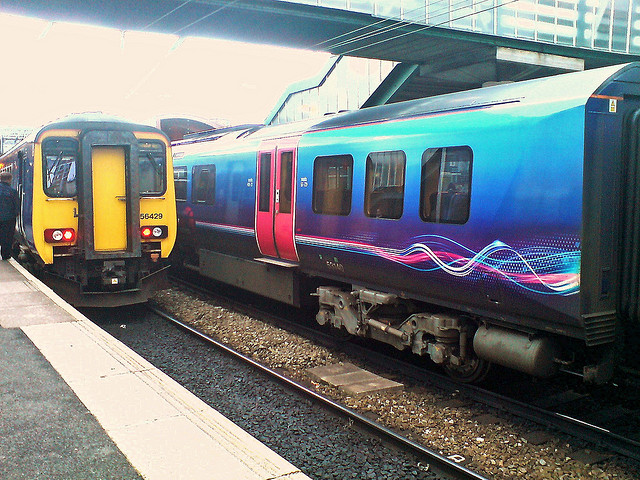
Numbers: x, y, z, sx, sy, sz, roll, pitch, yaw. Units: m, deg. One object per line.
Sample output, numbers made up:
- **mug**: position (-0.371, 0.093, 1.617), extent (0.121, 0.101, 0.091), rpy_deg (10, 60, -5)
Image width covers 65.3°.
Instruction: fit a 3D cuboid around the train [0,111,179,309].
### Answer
- **train**: position (-4.400, -0.565, 10.288), extent (2.661, 3.897, 0.778), rpy_deg (-5, 10, -21)
